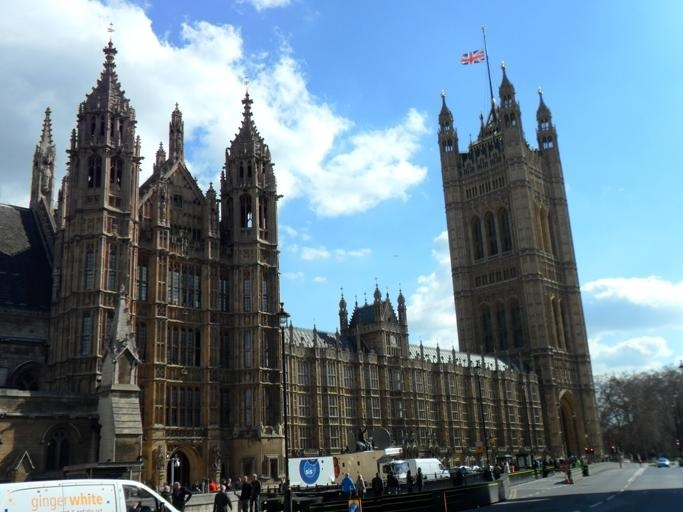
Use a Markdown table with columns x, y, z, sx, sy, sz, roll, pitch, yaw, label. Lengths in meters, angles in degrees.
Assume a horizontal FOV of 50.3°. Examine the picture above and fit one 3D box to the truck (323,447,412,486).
| x | y | z | sx | sy | sz | roll | pitch | yaw | label |
| --- | --- | --- | --- | --- | --- | --- | --- | --- | --- |
| 1.416 | 14.156 | 49.667 | 2.799 | 1.484 | 2.759 | -18 | -28 | 24 | truck |
